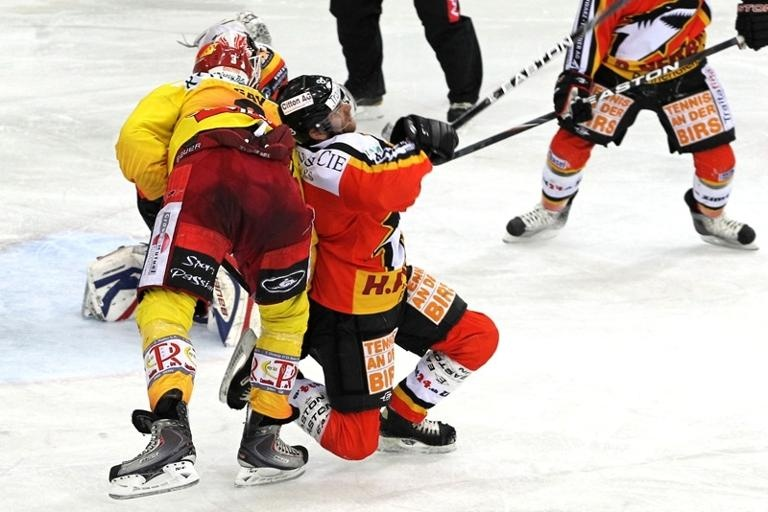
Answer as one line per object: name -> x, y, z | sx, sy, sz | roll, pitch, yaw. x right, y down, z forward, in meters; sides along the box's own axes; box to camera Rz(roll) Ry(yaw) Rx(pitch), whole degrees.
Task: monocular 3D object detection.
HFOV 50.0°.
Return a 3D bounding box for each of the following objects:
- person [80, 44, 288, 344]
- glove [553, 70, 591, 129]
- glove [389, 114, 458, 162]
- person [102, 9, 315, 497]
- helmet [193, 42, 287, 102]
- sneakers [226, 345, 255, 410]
person -> -0.905, -0.356, 4.835 | 1.196, 1.616, 0.584 | -2, -17, 32
glove -> 1.098, -0.886, 4.749 | 0.277, 0.288, 0.145 | 6, -16, 31
glove -> 0.171, -0.474, 3.381 | 0.286, 0.163, 0.112 | 8, -25, -17
person -> -0.639, 0.187, 3.233 | 0.760, 1.579, 1.343 | -4, 29, -5
helmet -> -0.783, -1.029, 4.570 | 0.456, 0.412, 0.474 | 1, 10, -12
sneakers -> -0.604, 0.521, 3.504 | 0.119, 0.283, 0.133 | 14, 2, 2
